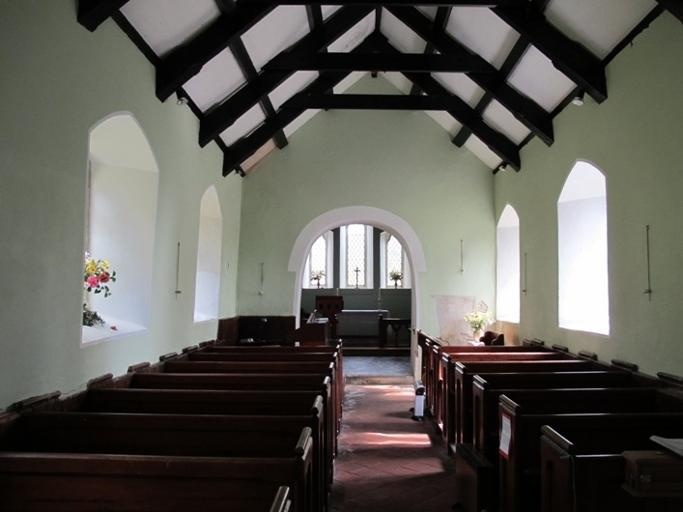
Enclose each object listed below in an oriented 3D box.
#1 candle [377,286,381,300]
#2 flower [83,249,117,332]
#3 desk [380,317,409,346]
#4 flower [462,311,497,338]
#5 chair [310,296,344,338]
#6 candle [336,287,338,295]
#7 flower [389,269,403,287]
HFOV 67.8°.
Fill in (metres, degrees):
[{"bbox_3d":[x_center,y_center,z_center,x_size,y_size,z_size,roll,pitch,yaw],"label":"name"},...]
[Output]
[{"bbox_3d":[1.057,1.081,14.263,0.083,0.320,0.198,2,-5,-6],"label":"candle"},{"bbox_3d":[-2.616,0.338,5.455,0.314,0.561,0.362,11,-20,-11],"label":"flower"},{"bbox_3d":[1.274,1.759,12.460,0.749,0.752,0.854,-1,-5,8],"label":"desk"},{"bbox_3d":[2.456,1.173,9.059,0.457,0.548,0.449,1,-3,-11],"label":"flower"},{"bbox_3d":[-0.187,1.492,12.818,0.679,1.185,0.569,-1,9,21],"label":"chair"},{"bbox_3d":[-0.161,1.014,14.398,0.100,0.222,0.109,0,-7,-5],"label":"candle"},{"bbox_3d":[1.591,0.648,14.724,0.387,0.485,0.418,1,-6,0],"label":"flower"}]
